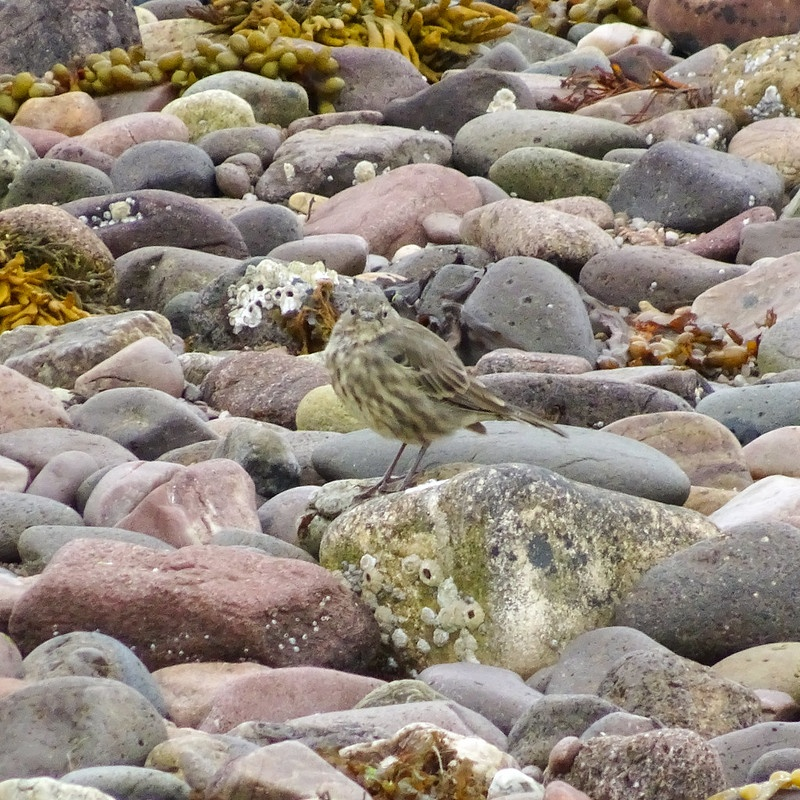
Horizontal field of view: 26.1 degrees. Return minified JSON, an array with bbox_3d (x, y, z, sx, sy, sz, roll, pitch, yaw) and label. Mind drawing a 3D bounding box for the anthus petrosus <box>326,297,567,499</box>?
[{"bbox_3d":[0.176,-0.037,7.782,1.144,0.766,0.564,-2,5,-31],"label":"anthus petrosus"}]
